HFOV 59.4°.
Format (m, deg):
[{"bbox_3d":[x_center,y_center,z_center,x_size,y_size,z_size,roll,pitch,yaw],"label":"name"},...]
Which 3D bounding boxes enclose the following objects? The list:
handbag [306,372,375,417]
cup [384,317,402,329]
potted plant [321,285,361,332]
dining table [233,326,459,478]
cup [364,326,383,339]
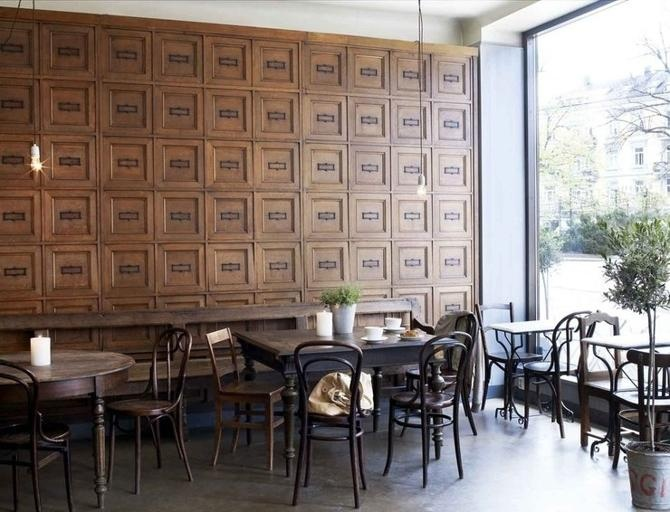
[{"bbox_3d":[-0.003,1.008,4.351,0.404,0.163,0.448,1,-6,-13],"label":"handbag"},{"bbox_3d":[0.488,0.572,5.006,0.148,0.076,0.115,-1,0,2],"label":"cup"},{"bbox_3d":[0.068,0.436,4.943,0.538,0.421,0.391,-1,-3,4],"label":"potted plant"},{"bbox_3d":[-0.046,1.006,4.483,1.449,0.661,1.262,1,-4,-16],"label":"dining table"},{"bbox_3d":[0.295,0.589,4.524,0.130,0.061,0.107,-3,1,-8],"label":"cup"}]
